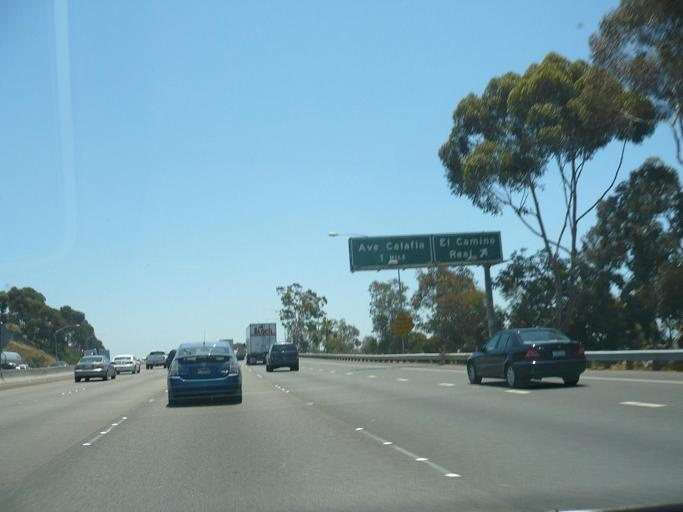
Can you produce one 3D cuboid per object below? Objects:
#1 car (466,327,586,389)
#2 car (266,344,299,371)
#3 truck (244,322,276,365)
[{"bbox_3d":[5.543,3.246,22.973,1.832,1.882,5.024,-2,-3,-21],"label":"car"},{"bbox_3d":[-3.774,6.550,46.735,1.908,1.810,2.131,-2,-2,-10],"label":"car"},{"bbox_3d":[-7.669,8.246,67.929,2.268,3.784,5.253,-1,-5,-15],"label":"truck"}]
